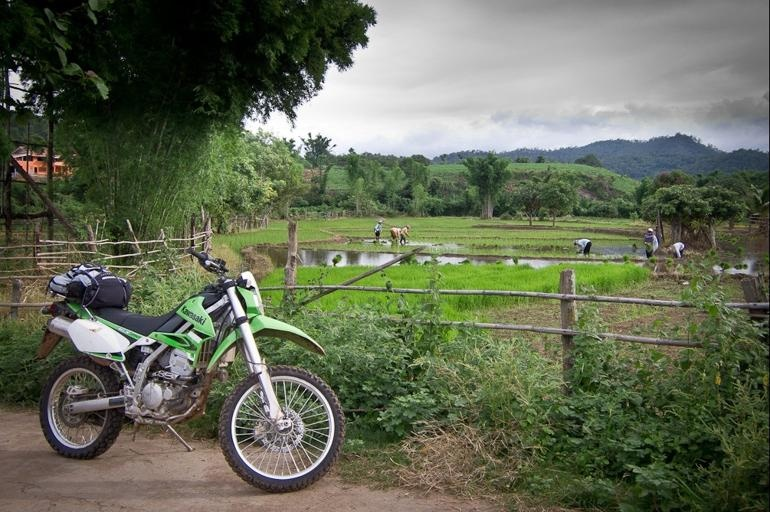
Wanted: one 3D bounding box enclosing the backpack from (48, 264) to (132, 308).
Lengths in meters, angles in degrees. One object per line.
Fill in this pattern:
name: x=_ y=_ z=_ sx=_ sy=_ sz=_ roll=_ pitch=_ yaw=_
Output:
backpack: x=-3.591 y=0.354 z=7.636 sx=0.706 sy=0.402 sz=0.572 roll=12 pitch=12 yaw=13
